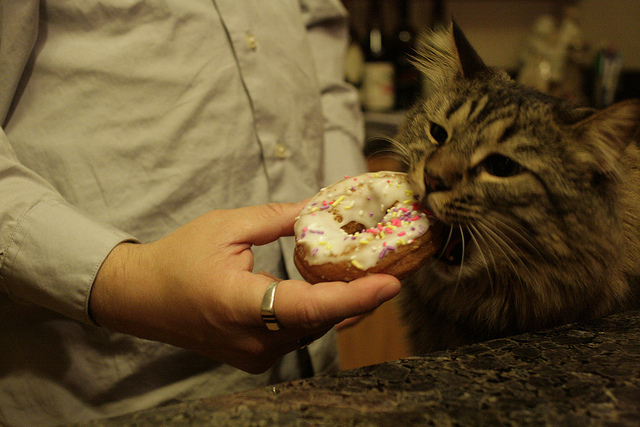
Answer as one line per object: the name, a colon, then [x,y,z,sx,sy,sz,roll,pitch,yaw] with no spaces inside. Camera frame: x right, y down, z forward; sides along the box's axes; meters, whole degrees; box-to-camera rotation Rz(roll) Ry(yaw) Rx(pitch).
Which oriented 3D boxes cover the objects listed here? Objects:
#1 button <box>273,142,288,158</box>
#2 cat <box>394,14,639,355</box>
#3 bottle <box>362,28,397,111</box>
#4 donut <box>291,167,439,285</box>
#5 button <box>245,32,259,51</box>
button: [-0.124,-0.198,1.862,0.044,0.044,0.015,4,0,-27]
cat: [0.531,-0.069,1.695,0.624,0.774,0.715,0,37,4]
bottle: [0.331,-0.784,3.307,0.184,0.249,0.518,0,37,4]
donut: [0.117,0.051,1.580,0.388,0.181,0.289,-14,38,-15]
button: [-0.209,-0.521,1.799,0.045,0.045,0.034,-20,40,-22]
